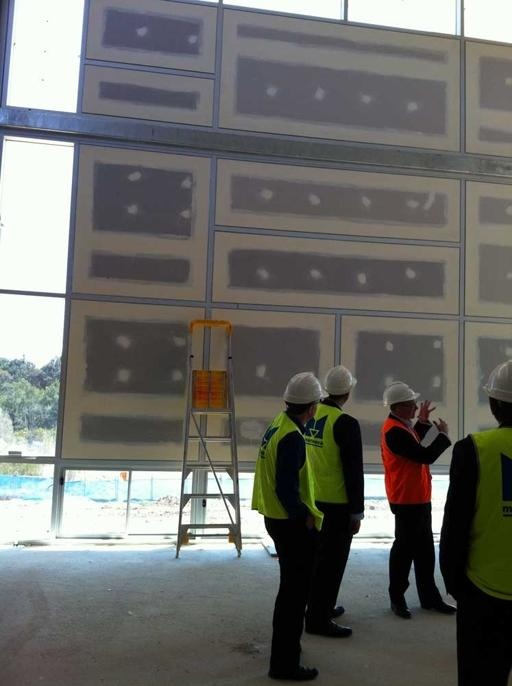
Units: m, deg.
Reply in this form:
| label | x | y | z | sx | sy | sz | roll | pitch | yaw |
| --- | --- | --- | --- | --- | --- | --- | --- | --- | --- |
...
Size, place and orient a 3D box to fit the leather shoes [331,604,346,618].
| label | x | y | z | sx | sy | sz | roll | pitch | yaw |
| --- | --- | --- | --- | --- | --- | --- | --- | --- | --- |
| leather shoes | 0.488 | 1.583 | 3.806 | 0.043 | 0.087 | 0.125 | -7 | -30 | 17 |

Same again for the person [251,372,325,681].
| label | x | y | z | sx | sy | sz | roll | pitch | yaw |
| --- | --- | --- | --- | --- | --- | --- | --- | --- | --- |
| person | 0.161 | 0.834 | 2.968 | 0.305 | 1.393 | 0.367 | 2 | -5 | -4 |

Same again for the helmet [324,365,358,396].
| label | x | y | z | sx | sy | sz | roll | pitch | yaw |
| --- | --- | --- | --- | --- | --- | --- | --- | --- | --- |
| helmet | 0.487 | 0.221 | 3.677 | 0.137 | 0.104 | 0.186 | 16 | 43 | 35 |

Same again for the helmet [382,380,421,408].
| label | x | y | z | sx | sy | sz | roll | pitch | yaw |
| --- | --- | --- | --- | --- | --- | --- | --- | --- | --- |
| helmet | 0.873 | 0.308 | 3.981 | 0.222 | 0.127 | 0.174 | -23 | 10 | 2 |

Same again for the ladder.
| label | x | y | z | sx | sy | sz | roll | pitch | yaw |
| --- | --- | --- | --- | --- | --- | --- | --- | --- | --- |
| ladder | -0.357 | 0.760 | 5.521 | 0.539 | 1.935 | 0.894 | 2 | -5 | -2 |

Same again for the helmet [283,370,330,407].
| label | x | y | z | sx | sy | sz | roll | pitch | yaw |
| --- | --- | --- | --- | --- | --- | --- | --- | --- | --- |
| helmet | 0.243 | 0.219 | 3.078 | 0.130 | 0.092 | 0.168 | 6 | 19 | 28 |

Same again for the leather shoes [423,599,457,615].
| label | x | y | z | sx | sy | sz | roll | pitch | yaw |
| --- | --- | --- | --- | --- | --- | --- | --- | --- | --- |
| leather shoes | 1.098 | 1.592 | 3.895 | 0.202 | 0.084 | 0.067 | -10 | -11 | 31 |

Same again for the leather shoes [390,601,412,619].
| label | x | y | z | sx | sy | sz | roll | pitch | yaw |
| --- | --- | --- | --- | --- | --- | --- | --- | --- | --- |
| leather shoes | 0.860 | 1.574 | 3.817 | 0.092 | 0.069 | 0.189 | 2 | -5 | -8 |

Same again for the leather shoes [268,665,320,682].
| label | x | y | z | sx | sy | sz | roll | pitch | yaw |
| --- | --- | --- | --- | --- | --- | --- | --- | --- | --- |
| leather shoes | 0.175 | 1.485 | 2.952 | 0.242 | 0.090 | 0.080 | 1 | -4 | -9 |
